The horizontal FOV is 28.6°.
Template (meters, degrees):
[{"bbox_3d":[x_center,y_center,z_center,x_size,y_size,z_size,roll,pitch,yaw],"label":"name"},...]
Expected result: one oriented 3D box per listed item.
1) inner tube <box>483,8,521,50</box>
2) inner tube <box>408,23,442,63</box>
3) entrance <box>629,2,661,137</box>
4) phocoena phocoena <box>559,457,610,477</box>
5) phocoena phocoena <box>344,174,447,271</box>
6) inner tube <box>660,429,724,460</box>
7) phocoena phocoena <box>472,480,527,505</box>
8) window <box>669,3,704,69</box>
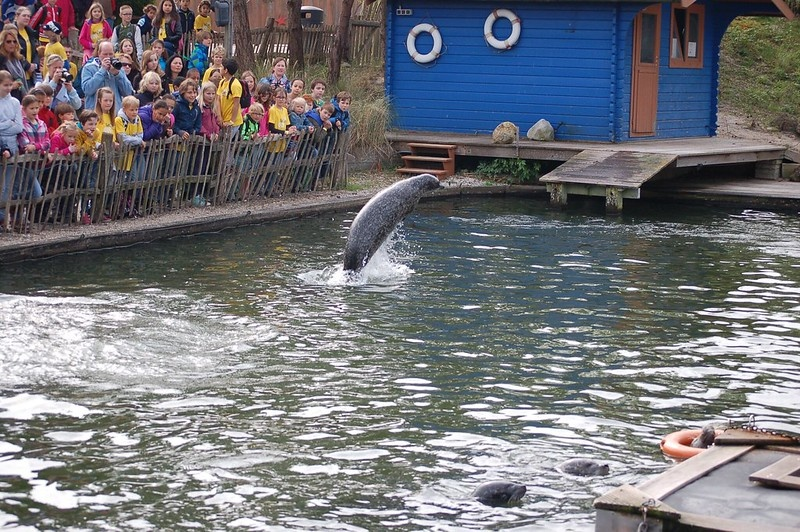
[{"bbox_3d":[2.121,-4.937,32.526,1.014,0.744,0.236,0,2,26],"label":"inner tube"},{"bbox_3d":[0.538,-4.784,33.414,1.009,0.733,0.229,0,0,21],"label":"inner tube"},{"bbox_3d":[4.980,-3.996,31.928,0.292,2.690,1.112,8,9,28],"label":"entrance"},{"bbox_3d":[2.033,2.235,17.247,0.486,0.111,0.214,-1,1,5],"label":"phocoena phocoena"},{"bbox_3d":[-0.238,-0.617,22.470,1.153,1.377,0.448,-3,10,-40],"label":"phocoena phocoena"},{"bbox_3d":[3.133,1.989,17.374,0.474,0.314,0.707,4,7,9],"label":"inner tube"},{"bbox_3d":[1.059,2.456,16.884,0.447,0.113,0.268,-1,18,7],"label":"phocoena phocoena"},{"bbox_3d":[6.019,-4.923,33.084,0.139,1.328,1.780,9,12,42],"label":"window"}]
